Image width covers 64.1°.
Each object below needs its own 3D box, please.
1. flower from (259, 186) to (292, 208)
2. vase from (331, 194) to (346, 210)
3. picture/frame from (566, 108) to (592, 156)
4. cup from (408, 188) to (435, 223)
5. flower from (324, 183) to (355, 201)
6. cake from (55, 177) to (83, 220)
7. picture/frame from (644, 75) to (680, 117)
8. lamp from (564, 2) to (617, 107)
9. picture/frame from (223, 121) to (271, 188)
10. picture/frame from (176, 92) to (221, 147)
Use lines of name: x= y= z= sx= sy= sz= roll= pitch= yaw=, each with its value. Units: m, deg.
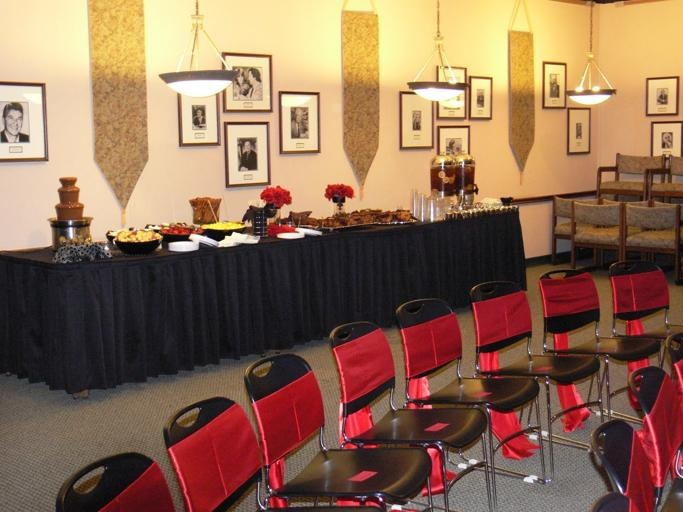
flower: x=-0.682 y=-0.530 z=5.636 sx=0.314 sy=0.214 sz=0.300 roll=5 pitch=28 yaw=-2
vase: x=-0.048 y=-0.615 z=6.251 sx=0.169 sy=0.195 sz=0.172 roll=2 pitch=7 yaw=21
picture/frame: x=4.240 y=-2.250 z=9.810 sx=0.834 sy=1.148 sz=0.053 roll=-5 pitch=8 yaw=-32
cup: x=0.983 y=-0.573 z=6.494 sx=0.307 sy=0.428 sz=0.315 roll=-2 pitch=7 yaw=0
flower: x=-0.036 y=-0.730 z=6.195 sx=0.251 sy=0.151 sz=0.252 roll=1 pitch=0 yaw=-10
cake: x=-2.424 y=-0.493 z=4.853 sx=0.248 sy=0.369 sz=0.244 roll=1 pitch=11 yaw=-13
picture/frame: x=5.504 y=-2.742 z=9.320 sx=0.670 sy=0.794 sz=0.053 roll=9 pitch=16 yaw=43
lamp: x=4.101 y=-3.421 z=8.946 sx=0.782 sy=1.937 sz=2.393 roll=1 pitch=10 yaw=26
picture/frame: x=-1.157 y=-1.225 z=6.523 sx=0.786 sy=1.016 sz=0.047 roll=-5 pitch=5 yaw=-37
picture/frame: x=-1.619 y=-1.525 z=6.093 sx=0.614 sy=0.712 sz=0.047 roll=-5 pitch=10 yaw=-37
